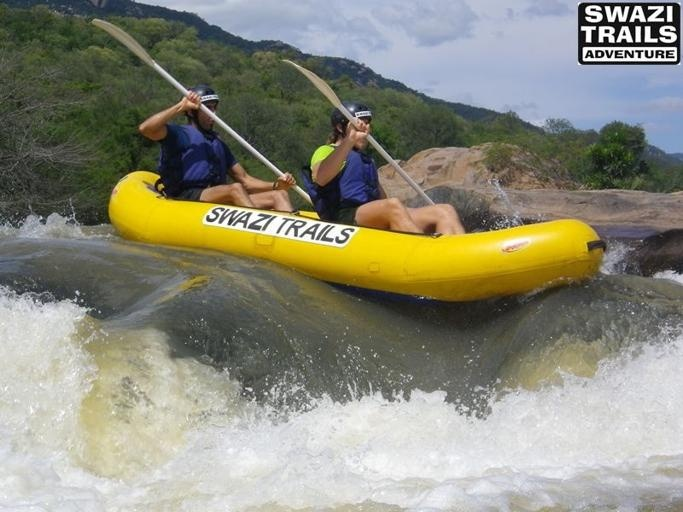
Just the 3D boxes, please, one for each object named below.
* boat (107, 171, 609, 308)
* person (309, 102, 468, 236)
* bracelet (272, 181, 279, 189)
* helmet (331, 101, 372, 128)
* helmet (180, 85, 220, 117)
[{"bbox_3d":[0.083,-0.183,7.286,3.751,0.614,1.564,6,4,26],"label":"boat"},{"bbox_3d":[0.501,-0.710,7.252,1.848,1.202,0.968,11,11,42],"label":"person"},{"bbox_3d":[-0.668,-0.697,8.187,0.071,0.032,0.090,-2,-24,-5],"label":"bracelet"},{"bbox_3d":[0.082,-1.343,7.557,0.302,0.228,0.241,-16,2,27],"label":"helmet"},{"bbox_3d":[-1.408,-1.643,8.165,0.247,0.291,0.298,26,33,-19],"label":"helmet"}]
